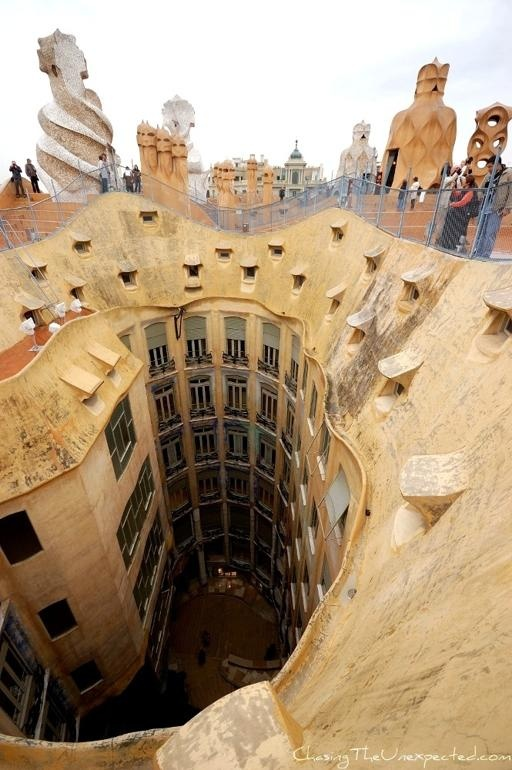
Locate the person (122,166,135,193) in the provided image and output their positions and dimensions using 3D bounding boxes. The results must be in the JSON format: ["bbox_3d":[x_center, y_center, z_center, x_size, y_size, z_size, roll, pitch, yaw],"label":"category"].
[{"bbox_3d":[-7.044,-11.703,25.091,0.496,1.247,0.896,-9,30,-16],"label":"person"}]
